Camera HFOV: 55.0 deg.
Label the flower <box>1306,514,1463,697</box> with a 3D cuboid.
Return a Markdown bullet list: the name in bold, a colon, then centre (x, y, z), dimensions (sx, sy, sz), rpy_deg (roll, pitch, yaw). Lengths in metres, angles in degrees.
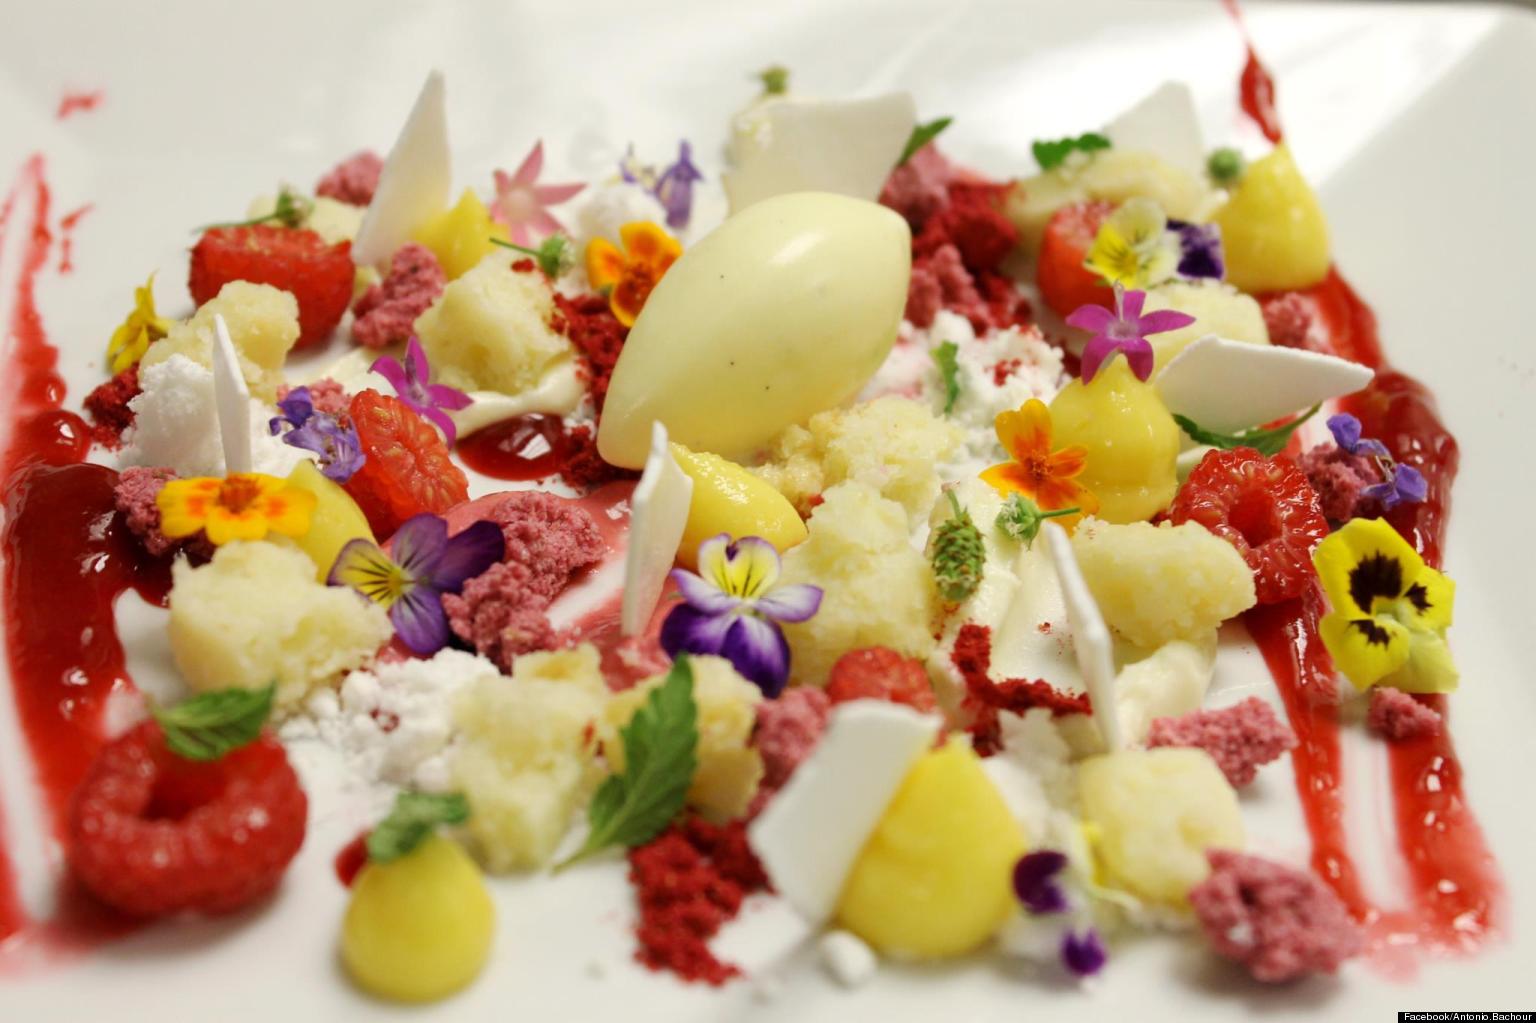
- **flower**: centre (1.015, 0.156, 2.411), dimensions (0.072, 0.272, 0.267), rpy_deg (-6, 20, -23)

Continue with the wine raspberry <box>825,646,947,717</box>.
- **wine raspberry**: centre (0.192, 0.265, 2.266), dimensions (0.177, 0.092, 0.137), rpy_deg (10, 11, -17)

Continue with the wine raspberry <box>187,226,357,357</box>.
- **wine raspberry**: centre (-0.924, -0.443, 2.798), dimensions (0.297, 0.177, 0.231), rpy_deg (-5, -2, -17)

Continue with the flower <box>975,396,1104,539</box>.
- **flower**: centre (0.436, -0.061, 2.495), dimensions (0.201, 0.080, 0.265), rpy_deg (-12, 54, -20)

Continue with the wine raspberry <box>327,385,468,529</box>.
- **wine raspberry**: centre (-0.603, -0.081, 2.448), dimensions (0.177, 0.083, 0.234), rpy_deg (5, 54, -45)

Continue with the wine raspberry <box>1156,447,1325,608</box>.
- **wine raspberry**: centre (0.836, 0.018, 2.506), dimensions (0.263, 0.116, 0.296), rpy_deg (15, 50, 36)

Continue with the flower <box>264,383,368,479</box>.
- **flower**: centre (-0.741, -0.117, 2.449), dimensions (0.150, 0.169, 0.069), rpy_deg (18, 8, -1)

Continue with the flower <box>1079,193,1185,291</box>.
- **flower**: centre (0.756, -0.521, 2.875), dimensions (0.144, 0.155, 0.046), rpy_deg (-46, 48, -16)

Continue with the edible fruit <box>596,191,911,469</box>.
- **edible fruit**: centre (0.039, -0.385, 2.690), dimensions (0.597, 0.372, 0.360), rpy_deg (-31, 40, -19)
